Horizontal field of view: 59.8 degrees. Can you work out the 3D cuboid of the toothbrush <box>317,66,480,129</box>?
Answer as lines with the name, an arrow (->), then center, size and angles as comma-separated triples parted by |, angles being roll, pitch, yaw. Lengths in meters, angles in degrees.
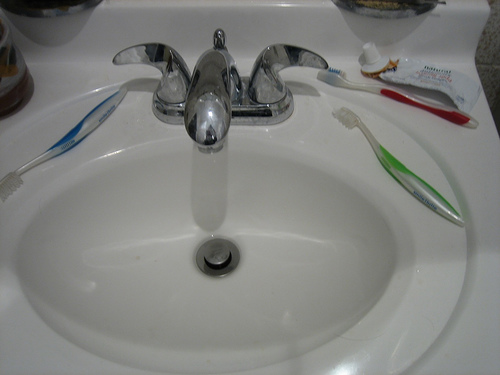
toothbrush -> 0.234, -0.138, 0.686 | 0.186, 0.033, 0.018 | 26, -13, 14

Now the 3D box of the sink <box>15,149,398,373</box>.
sink -> -0.062, 0.001, 0.780 | 0.496, 0.256, 0.503 | -1, 46, 1

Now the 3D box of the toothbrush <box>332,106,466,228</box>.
toothbrush -> 0.210, -0.056, 0.646 | 0.179, 0.141, 0.154 | 9, 44, 6

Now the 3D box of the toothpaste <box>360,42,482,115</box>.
toothpaste -> 0.258, -0.183, 0.714 | 0.163, 0.051, 0.069 | 22, 18, 5

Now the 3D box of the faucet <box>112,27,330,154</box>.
faucet -> -0.054, -0.124, 0.606 | 0.288, 0.124, 0.307 | 4, 36, 7
